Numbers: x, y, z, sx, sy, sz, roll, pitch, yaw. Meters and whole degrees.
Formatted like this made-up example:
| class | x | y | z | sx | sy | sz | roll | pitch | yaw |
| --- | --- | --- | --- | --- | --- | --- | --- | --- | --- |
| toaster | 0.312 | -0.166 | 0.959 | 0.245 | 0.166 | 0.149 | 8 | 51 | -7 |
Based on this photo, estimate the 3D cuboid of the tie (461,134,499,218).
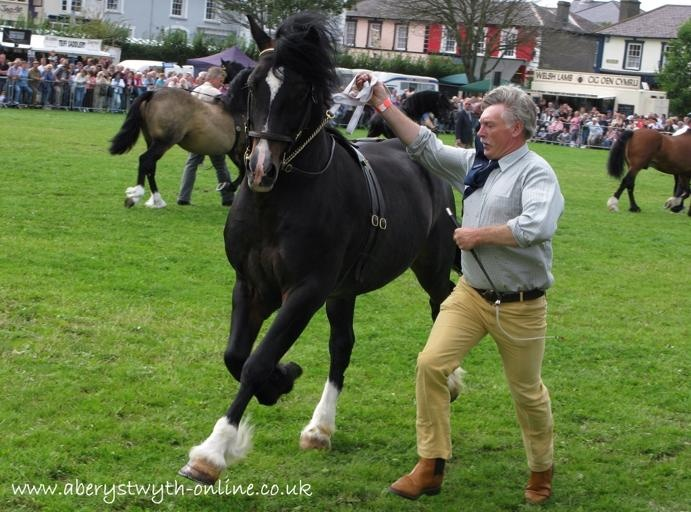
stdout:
| class | x | y | z | sx | sy | sz | roll | pitch | yaw |
| --- | --- | --- | --- | --- | --- | --- | --- | --- | --- |
| tie | 0.896 | -0.540 | 5.086 | 0.142 | 0.533 | 0.211 | 31 | 16 | 6 |

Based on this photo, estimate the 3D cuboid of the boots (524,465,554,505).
| class | x | y | z | sx | sy | sz | roll | pitch | yaw |
| --- | --- | --- | --- | --- | --- | --- | --- | --- | --- |
| boots | 1.305 | 1.583 | 5.083 | 0.110 | 0.125 | 0.340 | -1 | -1 | 28 |

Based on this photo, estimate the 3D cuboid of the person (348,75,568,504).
| class | x | y | z | sx | sy | sz | roll | pitch | yaw |
| --- | --- | --- | --- | --- | --- | --- | --- | --- | --- |
| person | 0.926 | 0.246 | 5.108 | 1.297 | 2.798 | 0.967 | 5 | 9 | -2 |

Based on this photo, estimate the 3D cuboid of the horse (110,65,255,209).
| class | x | y | z | sx | sy | sz | roll | pitch | yaw |
| --- | --- | --- | --- | --- | --- | --- | --- | --- | --- |
| horse | -2.298 | -1.910 | 12.278 | 0.905 | 2.130 | 3.531 | 10 | 10 | 38 |

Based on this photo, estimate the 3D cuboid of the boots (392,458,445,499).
| class | x | y | z | sx | sy | sz | roll | pitch | yaw |
| --- | --- | --- | --- | --- | --- | --- | --- | --- | --- |
| boots | 0.455 | 1.467 | 4.868 | 0.348 | 0.311 | 0.127 | 0 | 10 | -23 |
